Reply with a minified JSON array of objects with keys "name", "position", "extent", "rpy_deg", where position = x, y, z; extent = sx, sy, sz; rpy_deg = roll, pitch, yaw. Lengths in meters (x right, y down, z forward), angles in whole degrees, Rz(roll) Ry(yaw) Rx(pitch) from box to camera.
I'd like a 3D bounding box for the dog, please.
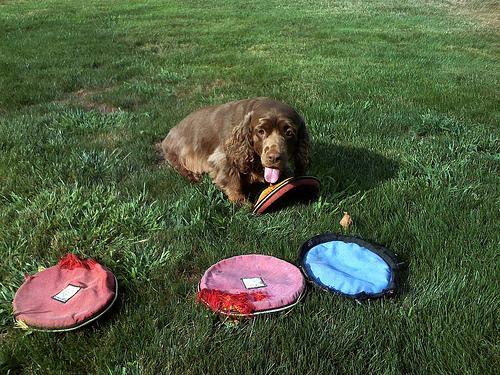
[{"name":"dog","position":[-0.232,-0.623,6.972],"extent":[1.144,1.121,2.214],"rpy_deg":[-26,41,-28]}]
